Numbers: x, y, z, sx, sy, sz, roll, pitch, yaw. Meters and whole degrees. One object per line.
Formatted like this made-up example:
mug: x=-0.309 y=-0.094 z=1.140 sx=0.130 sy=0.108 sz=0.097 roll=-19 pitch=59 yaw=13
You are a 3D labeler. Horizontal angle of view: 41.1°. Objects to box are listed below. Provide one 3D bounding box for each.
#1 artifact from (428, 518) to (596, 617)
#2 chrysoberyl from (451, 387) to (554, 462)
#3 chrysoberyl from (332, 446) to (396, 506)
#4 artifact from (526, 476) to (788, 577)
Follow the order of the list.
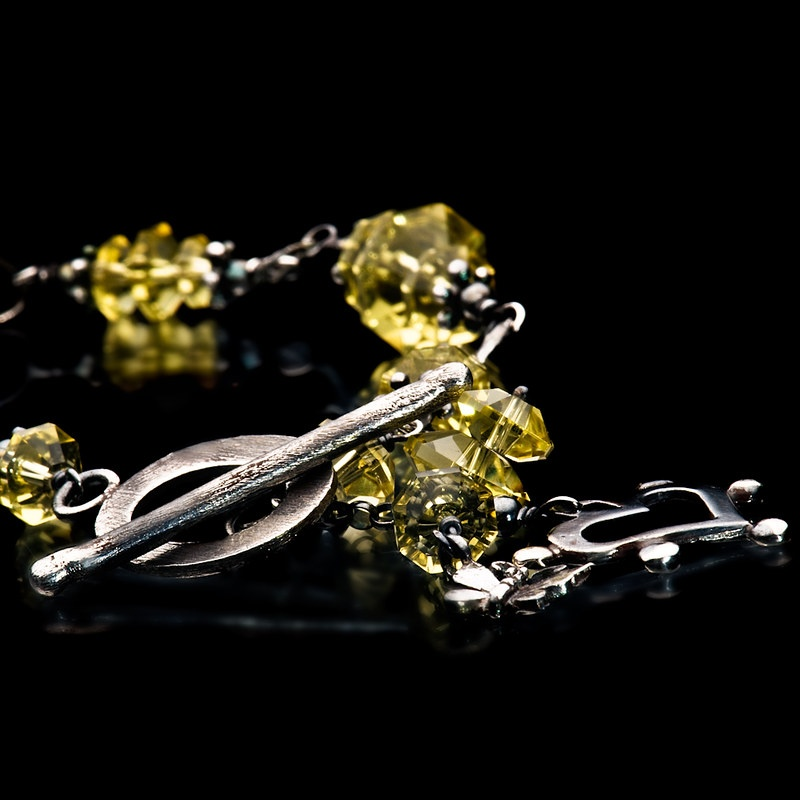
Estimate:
artifact: x=0.214 y=0.319 z=2.023 sx=0.255 sy=0.064 sz=0.198 roll=4 pitch=10 yaw=-20
chrysoberyl: x=0.214 y=0.047 z=2.382 sx=0.207 sy=0.112 sz=0.184 roll=26 pitch=12 yaw=-7
chrysoberyl: x=-0.077 y=0.169 z=2.297 sx=0.122 sy=0.117 sz=0.067 roll=-5 pitch=-35 yaw=4
artifact: x=0.517 y=0.256 z=2.192 sx=0.419 sy=0.055 sz=0.257 roll=-9 pitch=15 yaw=5
